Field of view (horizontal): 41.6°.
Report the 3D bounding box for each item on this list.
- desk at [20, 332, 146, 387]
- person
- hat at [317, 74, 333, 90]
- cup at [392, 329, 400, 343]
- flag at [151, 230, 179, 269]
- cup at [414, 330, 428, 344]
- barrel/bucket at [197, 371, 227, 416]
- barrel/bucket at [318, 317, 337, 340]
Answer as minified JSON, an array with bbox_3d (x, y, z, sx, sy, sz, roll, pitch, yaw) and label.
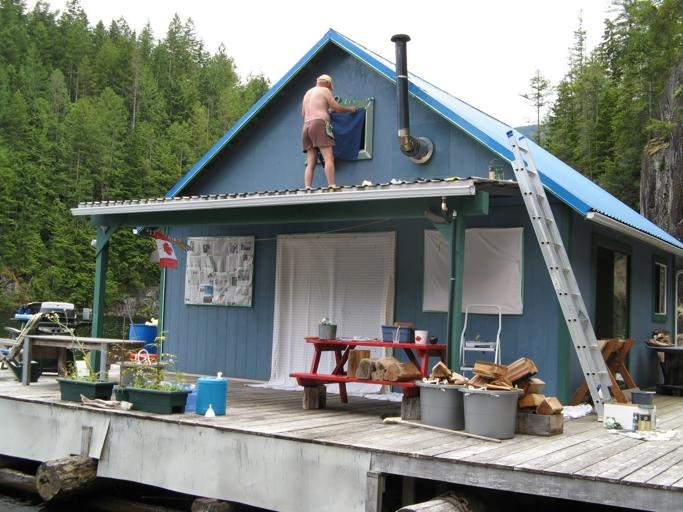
[{"bbox_3d":[-4.739,1.723,15.638,1.604,0.759,0.670,11,7,-39],"label":"desk"},{"bbox_3d":[-0.339,-2.355,17.214,0.876,2.212,0.732,1,-8,-2],"label":"person"},{"bbox_3d":[-0.331,-3.338,17.207,0.237,0.280,0.308,5,10,16],"label":"hat"},{"bbox_3d":[0.879,1.280,14.525,0.159,0.213,0.176,-1,-4,12],"label":"cup"},{"bbox_3d":[-3.333,-0.140,16.891,0.426,0.775,1.309,3,-9,-12],"label":"flag"},{"bbox_3d":[1.271,1.313,14.517,0.184,0.160,0.173,1,-3,0],"label":"cup"},{"bbox_3d":[-2.002,2.146,14.042,0.525,0.669,0.575,1,-1,0],"label":"barrel/bucket"},{"bbox_3d":[-0.251,1.239,15.219,0.306,0.340,0.320,0,-5,0],"label":"barrel/bucket"}]
